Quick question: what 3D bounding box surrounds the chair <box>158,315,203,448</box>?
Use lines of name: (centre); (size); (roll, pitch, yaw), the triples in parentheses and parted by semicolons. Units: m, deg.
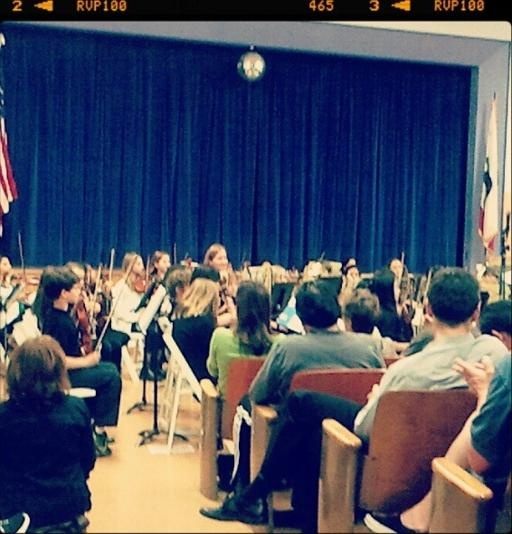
chair: (-0.483, 0.717, 3.985); (0.222, 0.507, 0.300); (-14, 24, -28)

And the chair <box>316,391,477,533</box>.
chair: (0.672, 0.803, 3.234); (0.600, 0.951, 0.620); (2, 3, -15)

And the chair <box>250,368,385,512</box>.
chair: (0.287, 0.825, 3.420); (0.523, 0.945, 0.565); (1, 5, -16)

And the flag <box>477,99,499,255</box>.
flag: (1.942, -0.768, 5.160); (0.168, 1.327, 0.224); (3, 3, 24)
